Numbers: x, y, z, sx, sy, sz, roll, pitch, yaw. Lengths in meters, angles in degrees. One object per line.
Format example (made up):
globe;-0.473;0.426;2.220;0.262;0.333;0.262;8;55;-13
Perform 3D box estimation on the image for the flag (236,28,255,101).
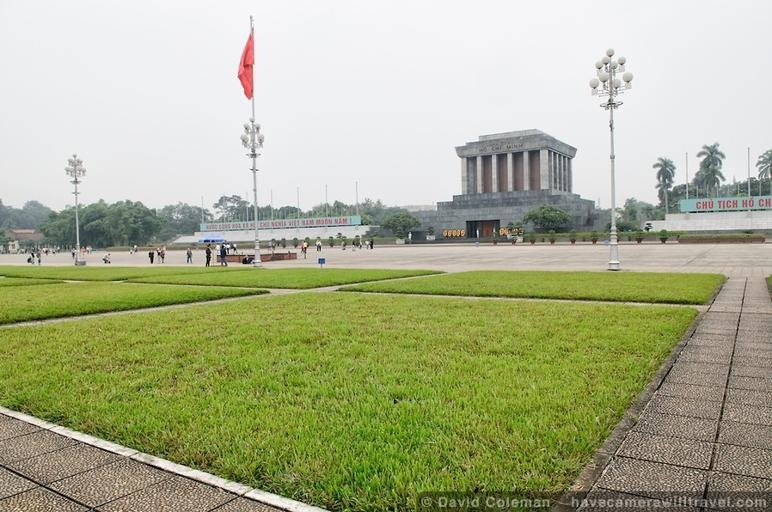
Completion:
flag;-6.695;-9.147;30.283;0.595;3.115;1.643;-2;4;-19
